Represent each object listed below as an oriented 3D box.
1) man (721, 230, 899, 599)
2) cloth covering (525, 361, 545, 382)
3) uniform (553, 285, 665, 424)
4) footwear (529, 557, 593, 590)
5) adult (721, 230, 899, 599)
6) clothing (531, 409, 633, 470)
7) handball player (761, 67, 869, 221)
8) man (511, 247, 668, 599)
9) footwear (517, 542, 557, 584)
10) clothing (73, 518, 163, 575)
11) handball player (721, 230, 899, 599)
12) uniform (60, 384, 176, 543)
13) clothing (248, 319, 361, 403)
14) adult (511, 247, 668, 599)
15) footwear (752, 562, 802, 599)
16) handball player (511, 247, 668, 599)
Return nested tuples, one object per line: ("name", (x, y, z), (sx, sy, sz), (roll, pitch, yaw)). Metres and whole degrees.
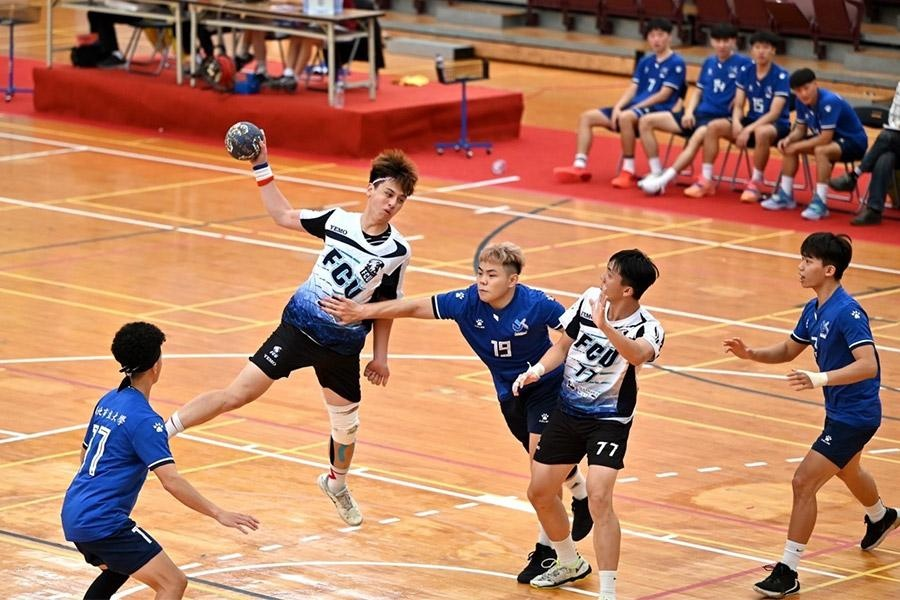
("man", (2.408, 0.692, 6.823), (0.842, 2.244, 1.164), (9, 11, 30))
("cloth covering", (0.526, 0.427, 6.447), (0.109, 0.045, 0.128), (20, 33, 34))
("uniform", (0.973, 0.357, 6.535), (0.517, 0.699, 0.882), (-9, 18, -33))
("footwear", (0.704, 1.698, 6.753), (0.474, 0.146, 0.148), (-12, 18, -13))
("adult", (2.408, 0.692, 6.823), (0.840, 2.244, 1.164), (9, 11, 30))
("clothing", (0.872, 0.834, 6.486), (0.662, 0.350, 0.365), (-4, -11, 41))
("handball player", (5.184, -2.250, 14.932), (1.688, 1.742, 1.127), (-18, 18, -18))
("man", (0.879, 0.759, 6.447), (0.658, 2.131, 0.885), (-6, 14, -45))
("footwear", (0.571, 1.683, 6.822), (0.202, 0.182, 0.496), (18, 10, 10))
("clothing", (-1.748, 1.320, 5.607), (0.402, 0.323, 0.185), (5, 9, 15))
("handball player", (2.417, 0.691, 6.828), (0.831, 2.244, 1.181), (9, 11, 30))
("uniform", (-1.768, 0.865, 5.641), (0.540, 0.789, 0.353), (0, 10, -16))
("clothing", (-1.031, 0.462, 7.721), (0.845, 0.439, 0.297), (23, 5, -13))
("adult", (0.879, 0.759, 6.447), (0.658, 2.131, 0.885), (-6, 14, -45))
("footwear", (2.088, 1.733, 6.653), (0.391, 0.203, 0.139), (-2, 10, -29))
("handball player", (0.879, 0.759, 6.447), (0.658, 2.131, 0.885), (-6, 14, -45))
